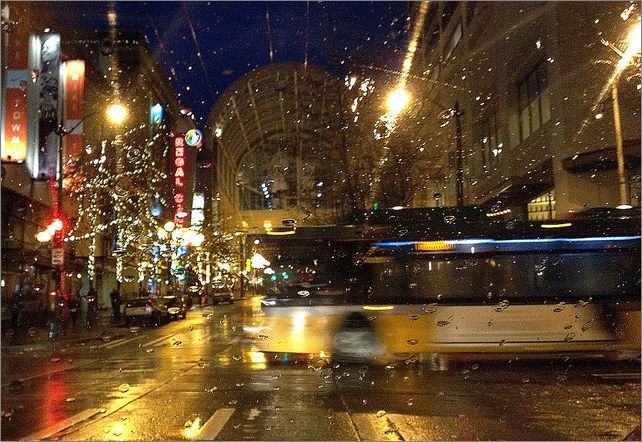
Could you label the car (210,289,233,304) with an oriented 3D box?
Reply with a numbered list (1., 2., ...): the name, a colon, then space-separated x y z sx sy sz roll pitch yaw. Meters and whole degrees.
1. car: -10.753 8.504 63.925 1.968 1.700 1.613 -9 10 1
